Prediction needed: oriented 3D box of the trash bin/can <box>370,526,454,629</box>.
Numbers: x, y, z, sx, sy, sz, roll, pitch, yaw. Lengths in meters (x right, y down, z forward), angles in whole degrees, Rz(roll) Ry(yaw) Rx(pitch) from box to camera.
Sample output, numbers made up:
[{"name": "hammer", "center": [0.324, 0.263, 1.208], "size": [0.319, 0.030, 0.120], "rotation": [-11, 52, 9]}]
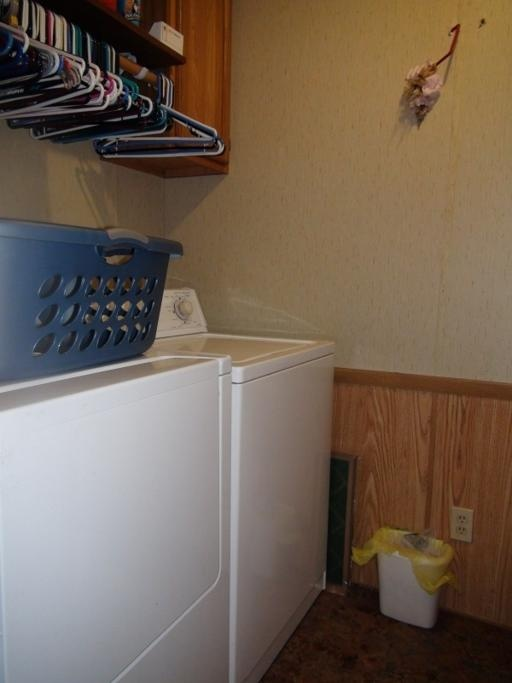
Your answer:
[{"name": "trash bin/can", "center": [0.513, 0.727, 1.904], "size": [0.235, 0.316, 0.215], "rotation": [-2, -6, 35]}]

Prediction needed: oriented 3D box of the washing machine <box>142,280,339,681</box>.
[{"name": "washing machine", "center": [-0.084, 0.325, 1.671], "size": [0.494, 1.073, 0.656], "rotation": [4, 9, 13]}]
